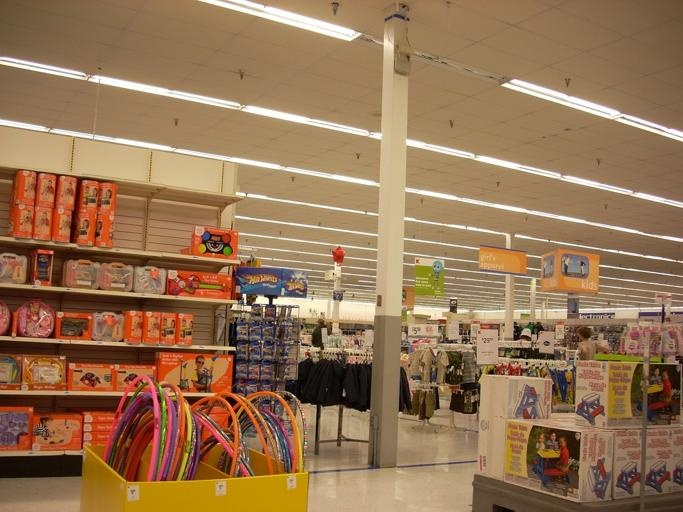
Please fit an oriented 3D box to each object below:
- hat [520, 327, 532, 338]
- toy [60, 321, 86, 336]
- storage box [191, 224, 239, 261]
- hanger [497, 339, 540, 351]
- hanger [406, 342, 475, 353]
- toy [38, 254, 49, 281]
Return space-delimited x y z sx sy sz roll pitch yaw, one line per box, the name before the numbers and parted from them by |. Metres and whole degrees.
hat | 4.002 1.640 12.226 0.307 0.203 0.379 4 -21 13
toy | -2.831 0.753 5.972 0.285 0.188 0.153 4 -11 -24
storage box | -1.495 -0.132 6.685 0.678 0.433 0.359 5 -12 -30
hanger | 3.665 1.830 11.755 0.514 0.120 0.503 2 -1 2
hanger | 1.910 1.768 10.962 0.721 0.162 0.360 0 -2 10
toy | -3.122 0.126 5.915 0.125 0.272 0.034 8 -9 -27
